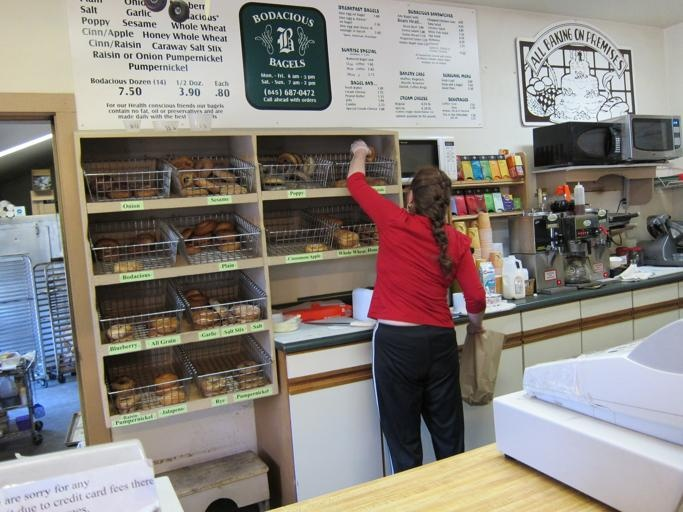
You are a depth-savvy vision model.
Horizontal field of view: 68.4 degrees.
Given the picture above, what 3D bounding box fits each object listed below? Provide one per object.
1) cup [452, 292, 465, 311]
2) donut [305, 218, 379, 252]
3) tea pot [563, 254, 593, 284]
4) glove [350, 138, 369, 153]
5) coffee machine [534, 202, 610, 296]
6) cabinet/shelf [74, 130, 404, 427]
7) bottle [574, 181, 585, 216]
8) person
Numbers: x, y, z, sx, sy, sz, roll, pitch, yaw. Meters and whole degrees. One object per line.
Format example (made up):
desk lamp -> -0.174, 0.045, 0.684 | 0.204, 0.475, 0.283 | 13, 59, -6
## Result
cup -> 0.724, 0.280, 3.149 | 0.104, 0.105, 0.094 | 2, 4, 26
donut -> 0.005, -0.142, 3.143 | 0.210, 0.115, 0.299 | -5, 12, -30
tea pot -> 1.725, 0.103, 3.676 | 0.240, 0.250, 0.162 | 1, 1, 12
glove -> 0.111, -0.671, 3.070 | 0.130, 0.066, 0.179 | 0, 13, 1
coffee machine -> 1.615, -0.040, 3.572 | 0.610, 0.639, 0.333 | -3, 3, -28
cabinet/shelf -> -0.623, 0.144, 2.851 | 1.687, 1.475, 0.443 | -7, 7, -29
bottle -> 1.681, -0.401, 3.556 | 0.060, 0.197, 0.216 | -2, 9, 28
person -> 0.451, 0.332, 2.750 | 0.665, 1.634, 0.396 | -7, 7, -1
